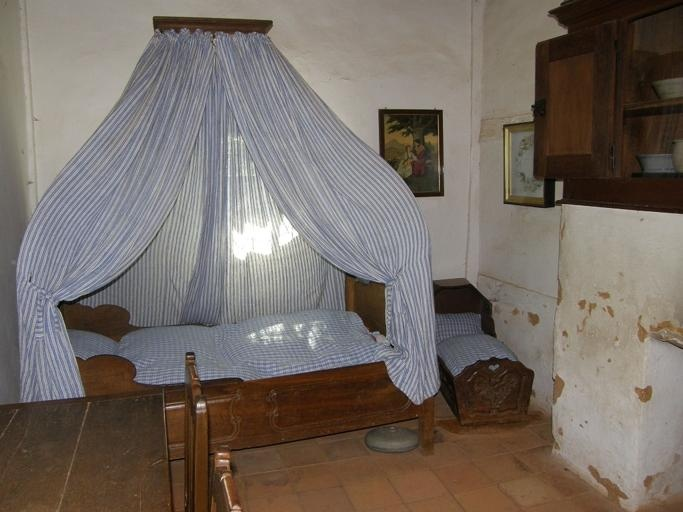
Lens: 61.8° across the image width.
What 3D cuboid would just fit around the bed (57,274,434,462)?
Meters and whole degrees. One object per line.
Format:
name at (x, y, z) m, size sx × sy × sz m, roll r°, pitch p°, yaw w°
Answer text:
bed at (-0.537, 0.800, 3.764) m, size 1.989 × 1.214 × 1.176 m, roll -2°, pitch 8°, yaw -14°

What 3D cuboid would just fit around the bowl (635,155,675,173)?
bowl at (1.654, -0.495, 3.008) m, size 0.168 × 0.106 × 0.069 m, roll 3°, pitch 12°, yaw 35°

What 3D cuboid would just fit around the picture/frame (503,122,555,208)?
picture/frame at (1.328, -0.661, 4.022) m, size 0.057 × 0.768 × 0.635 m, roll -4°, pitch 5°, yaw -18°

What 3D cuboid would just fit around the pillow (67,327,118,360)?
pillow at (-1.604, 0.562, 3.642) m, size 0.236 × 0.058 × 0.212 m, roll 3°, pitch 18°, yaw -35°

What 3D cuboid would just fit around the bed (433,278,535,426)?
bed at (1.056, 0.709, 4.400) m, size 0.640 × 0.915 × 0.837 m, roll -3°, pitch 10°, yaw 3°
